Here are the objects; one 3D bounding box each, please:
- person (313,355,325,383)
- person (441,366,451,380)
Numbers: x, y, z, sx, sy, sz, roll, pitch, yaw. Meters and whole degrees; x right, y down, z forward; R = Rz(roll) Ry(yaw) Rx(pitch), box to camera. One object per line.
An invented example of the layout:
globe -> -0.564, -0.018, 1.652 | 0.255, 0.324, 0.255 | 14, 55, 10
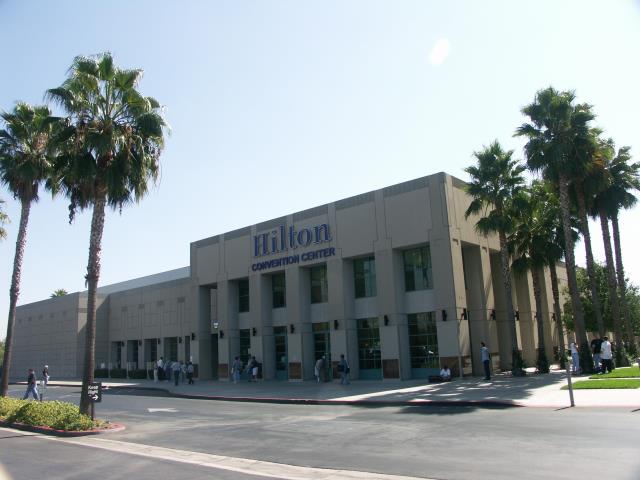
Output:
person -> -0.014, 9.160, 34.418 | 0.726, 1.624, 2.114 | -2, -10, 0
person -> 7.435, 7.900, 28.636 | 0.796, 0.924, 0.508 | -1, -15, 12
